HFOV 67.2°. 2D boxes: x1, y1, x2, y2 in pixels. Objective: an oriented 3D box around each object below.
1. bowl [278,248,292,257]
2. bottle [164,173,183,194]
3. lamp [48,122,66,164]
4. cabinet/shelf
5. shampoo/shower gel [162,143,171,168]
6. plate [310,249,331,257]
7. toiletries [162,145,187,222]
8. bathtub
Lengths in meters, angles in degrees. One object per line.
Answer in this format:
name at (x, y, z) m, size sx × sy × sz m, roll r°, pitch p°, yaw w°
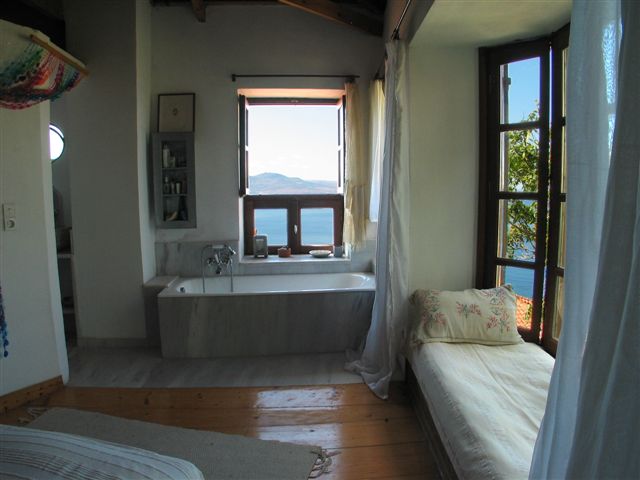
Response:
bowl at (-0.394, 0.132, 5.320) m, size 0.093 × 0.075 × 0.095 m, roll -2°, pitch 12°, yaw 1°
bottle at (-1.435, -0.547, 4.706) m, size 0.151 × 0.167 × 0.159 m, roll 4°, pitch 14°, yaw 9°
lamp at (-2.671, -0.980, 4.915) m, size 0.140 × 0.372 × 0.051 m, roll 0°, pitch 6°, yaw -2°
cabinet/shelf at (-1.424, -0.578, 4.698) m, size 0.401 × 0.916 × 0.117 m, roll -2°, pitch 6°, yaw -28°
shampoo/shower gel at (-1.480, -0.804, 4.653) m, size 0.067 × 0.217 × 0.037 m, roll -2°, pitch 6°, yaw -29°
plate at (0.009, 0.150, 5.368) m, size 0.231 × 0.063 × 0.259 m, roll 1°, pitch 5°, yaw -4°
toiletries at (-1.422, -0.560, 4.796) m, size 0.301 × 0.839 × 0.180 m, roll -1°, pitch 4°, yaw -4°
bathtub at (-0.485, 0.724, 4.574) m, size 1.891 × 0.657 × 0.654 m, roll 0°, pitch 9°, yaw -2°
